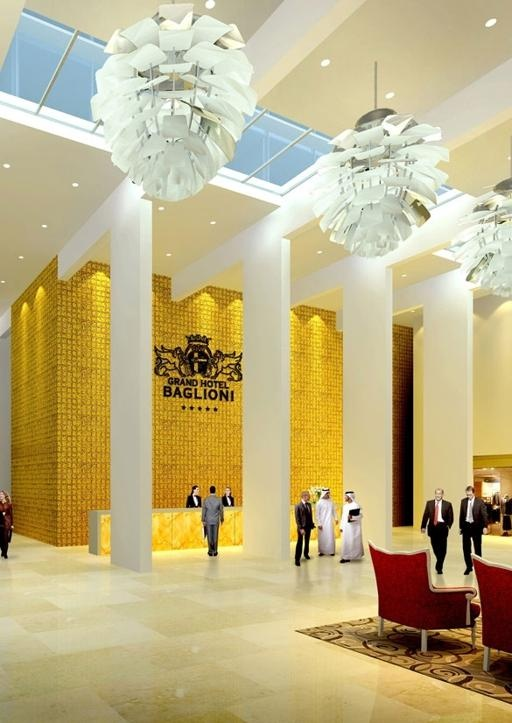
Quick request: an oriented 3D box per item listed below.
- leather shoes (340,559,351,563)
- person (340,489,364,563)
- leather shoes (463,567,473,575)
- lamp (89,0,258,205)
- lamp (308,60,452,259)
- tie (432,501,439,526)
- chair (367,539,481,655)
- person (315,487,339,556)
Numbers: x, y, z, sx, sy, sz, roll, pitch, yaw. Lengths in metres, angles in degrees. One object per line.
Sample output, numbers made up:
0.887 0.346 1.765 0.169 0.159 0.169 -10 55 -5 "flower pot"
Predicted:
1.906 4.265 11.543 0.231 0.108 0.085 6 -9 -29 "leather shoes"
2.059 3.614 11.840 0.470 1.441 0.670 -2 -13 9 "person"
3.880 3.858 9.925 0.084 0.123 0.266 -3 -3 33 "leather shoes"
-0.422 -1.411 2.892 0.901 0.847 0.740 -10 -17 35 "lamp"
0.957 -1.655 4.328 0.881 1.259 1.109 7 -15 -27 "lamp"
3.212 2.699 9.655 0.115 0.390 0.116 -2 -13 12 "tie"
1.606 2.251 5.338 0.722 0.960 0.876 6 -12 -29 "chair"
1.615 3.736 12.567 0.453 1.516 0.653 -1 -13 6 "person"
